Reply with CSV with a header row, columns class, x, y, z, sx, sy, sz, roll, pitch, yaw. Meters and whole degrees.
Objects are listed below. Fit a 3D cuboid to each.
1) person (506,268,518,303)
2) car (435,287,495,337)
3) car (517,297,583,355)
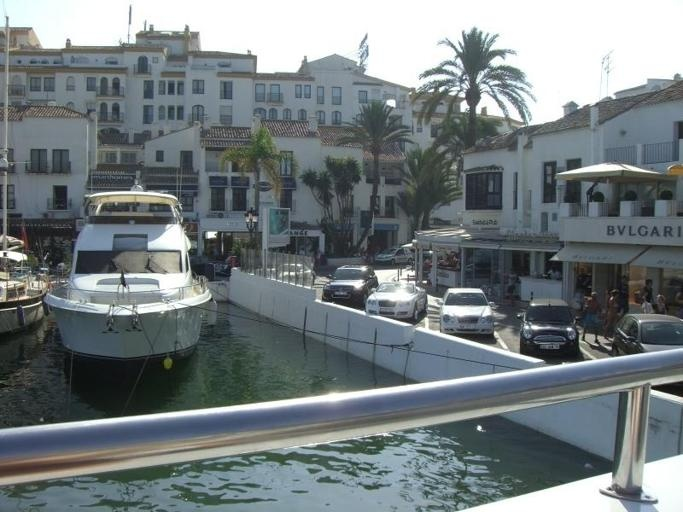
class,x,y,z,sx,sy,sz,roll,pitch,yaw
person,8.482,1.406,34.995,0.598,1.201,2.306,-2,6,14
car,4.325,2.064,24.552,1.755,1.333,2.051,-2,6,10
car,6.350,2.153,21.563,1.286,1.134,2.576,-1,-5,14
